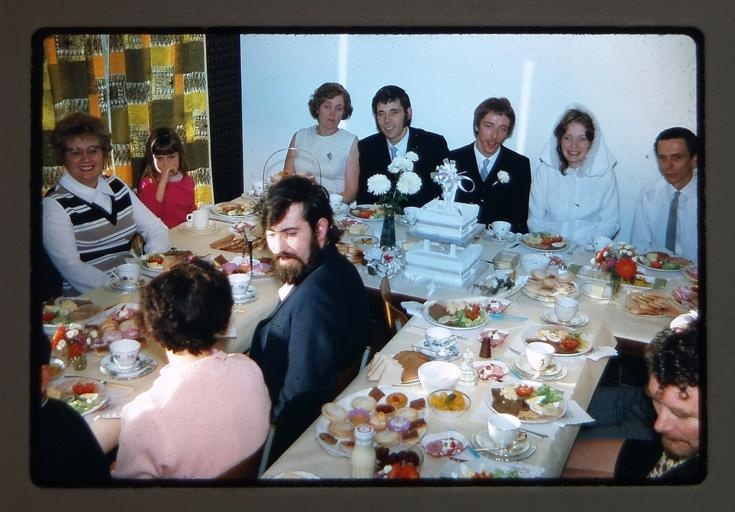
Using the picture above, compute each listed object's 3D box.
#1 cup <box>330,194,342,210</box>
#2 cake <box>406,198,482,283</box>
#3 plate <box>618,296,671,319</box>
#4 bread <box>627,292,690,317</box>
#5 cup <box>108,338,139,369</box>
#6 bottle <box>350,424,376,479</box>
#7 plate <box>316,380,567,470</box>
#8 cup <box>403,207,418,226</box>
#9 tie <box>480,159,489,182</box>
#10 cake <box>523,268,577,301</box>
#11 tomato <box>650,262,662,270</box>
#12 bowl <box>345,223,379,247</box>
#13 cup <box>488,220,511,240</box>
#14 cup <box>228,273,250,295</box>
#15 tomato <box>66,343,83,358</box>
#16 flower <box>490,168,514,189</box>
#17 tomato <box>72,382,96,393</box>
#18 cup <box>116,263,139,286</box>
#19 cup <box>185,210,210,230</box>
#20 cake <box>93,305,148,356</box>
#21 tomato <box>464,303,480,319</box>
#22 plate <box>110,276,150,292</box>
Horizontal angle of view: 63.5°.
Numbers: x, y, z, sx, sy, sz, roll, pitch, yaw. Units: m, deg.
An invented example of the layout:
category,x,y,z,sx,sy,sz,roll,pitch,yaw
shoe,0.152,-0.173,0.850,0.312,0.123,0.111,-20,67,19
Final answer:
category,x,y,z,sx,sy,sz,roll,pitch,yaw
cup,-0.234,-0.417,4.539,0.093,0.083,0.116,-1,5,1
cake,0.488,-0.116,3.735,0.487,0.523,0.491,8,25,20
plate,1.531,0.272,3.245,0.186,0.045,0.129,9,30,40
bread,1.536,0.243,3.241,0.217,0.049,0.133,9,31,37
cup,-1.085,0.427,2.680,0.124,0.094,0.132,1,6,0
bottle,0.005,0.732,2.290,0.088,0.188,0.161,6,13,28
plate,0.272,0.691,2.461,0.618,0.085,0.435,2,20,7
cup,0.327,-0.284,4.298,0.115,0.096,0.107,-3,13,1
tie,0.957,-0.692,4.829,0.047,0.181,0.022,4,-9,24
cake,1.026,0.173,3.391,0.211,0.061,0.206,-18,27,-36
tomato,1.750,0.055,3.603,0.042,0.021,0.041,-10,16,-30
bowl,-0.034,-0.141,4.088,0.180,0.073,0.181,1,36,-1
cup,0.910,-0.177,4.095,0.111,0.088,0.132,-6,7,-29
cup,-0.701,0.150,3.264,0.114,0.090,0.123,0,2,0
tomato,-1.300,0.418,2.659,0.072,0.070,0.068,-3,-1,-8
flower,1.054,-0.614,4.713,0.145,0.130,0.175,4,12,20
tomato,-1.198,0.553,2.522,0.068,0.029,0.050,-5,21,-35
cup,-1.315,0.099,3.286,0.107,0.089,0.112,1,1,0
cup,-1.149,-0.262,4.082,0.161,0.121,0.120,-4,22,-12
cake,-1.212,0.325,2.921,0.270,0.062,0.364,-2,25,-6
tomato,0.550,0.283,3.104,0.062,0.051,0.072,-2,5,2
plate,-1.302,0.158,3.259,0.163,0.036,0.163,2,11,10
